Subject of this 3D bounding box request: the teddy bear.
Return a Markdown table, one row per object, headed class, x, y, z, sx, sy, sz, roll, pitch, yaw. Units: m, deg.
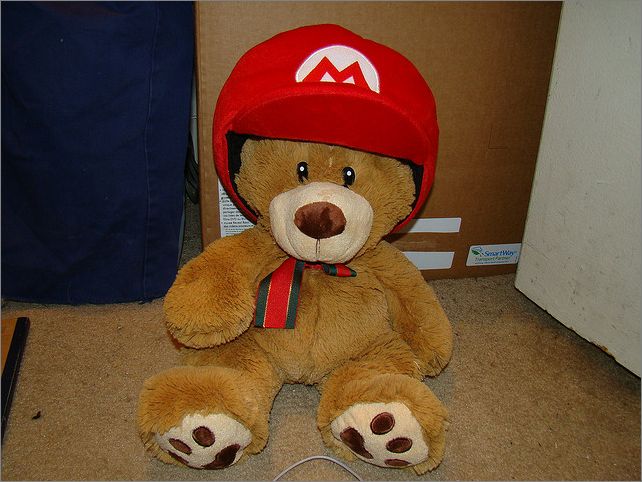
| class | x | y | z | sx | sy | sz | roll | pitch | yaw |
| --- | --- | --- | --- | --- | --- | --- | --- | --- | --- |
| teddy bear | -0.001 | -0.049 | 1.275 | 0.641 | 0.954 | 0.759 | 5 | 22 | -3 |
